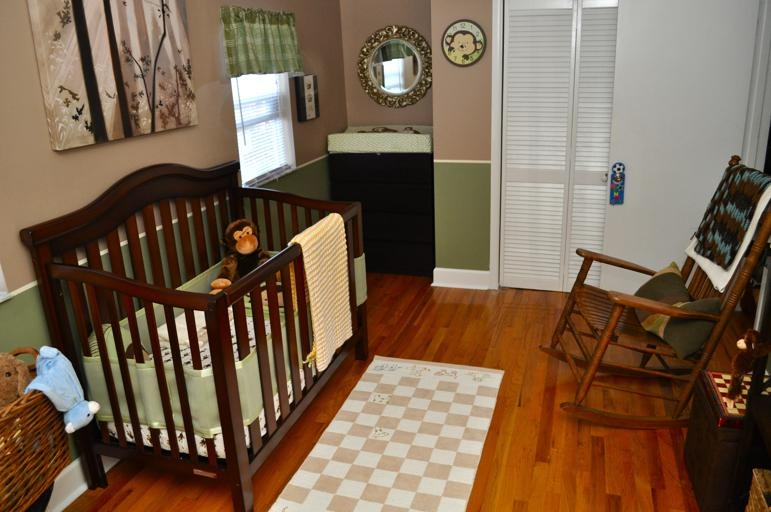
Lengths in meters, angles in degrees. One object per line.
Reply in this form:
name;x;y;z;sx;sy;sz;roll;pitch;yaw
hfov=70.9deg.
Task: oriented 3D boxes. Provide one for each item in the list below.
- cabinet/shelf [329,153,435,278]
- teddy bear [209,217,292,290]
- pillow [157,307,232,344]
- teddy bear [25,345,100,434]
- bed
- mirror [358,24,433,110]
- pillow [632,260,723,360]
cabinet/shelf;-0.069;-0.304;5.044;0.907;1.104;0.731;0;-5;-8
teddy bear;-0.873;-0.004;3.445;0.494;0.426;0.265;-19;34;-32
pillow;-1.116;0.401;3.024;0.301;0.095;0.315;-3;16;2
teddy bear;-1.409;0.606;2.390;0.124;0.382;0.262;-15;20;38
bed;-0.942;0.353;2.881;1.090;1.463;1.308;12;27;28
mirror;0.110;-1.721;4.834;0.777;0.828;0.052;0;10;10
pillow;1.652;0.313;3.069;0.242;0.249;0.537;26;31;-6
